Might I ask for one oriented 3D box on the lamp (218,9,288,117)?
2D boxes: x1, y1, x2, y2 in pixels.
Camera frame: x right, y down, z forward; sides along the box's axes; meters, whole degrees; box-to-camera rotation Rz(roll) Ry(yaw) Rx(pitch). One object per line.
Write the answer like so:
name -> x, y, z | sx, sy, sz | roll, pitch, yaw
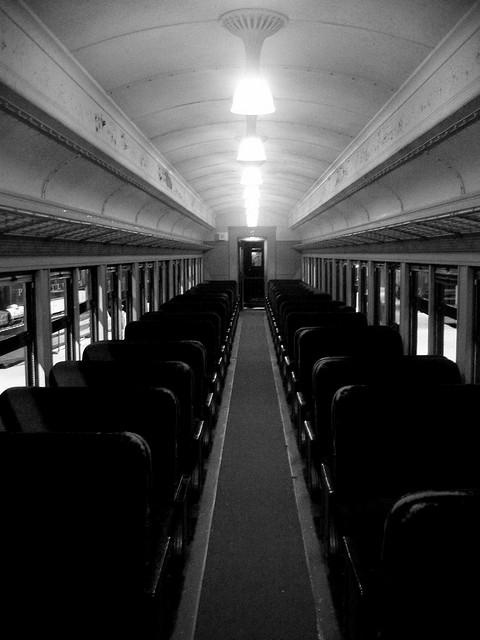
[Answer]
lamp -> 0.077, -1.770, 3.363 | 0.515, 0.850, 0.622 | 1, -1, -3
